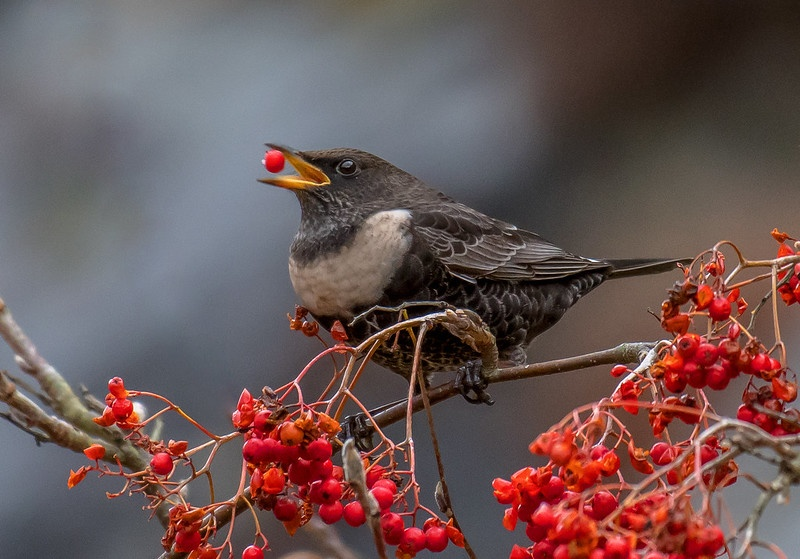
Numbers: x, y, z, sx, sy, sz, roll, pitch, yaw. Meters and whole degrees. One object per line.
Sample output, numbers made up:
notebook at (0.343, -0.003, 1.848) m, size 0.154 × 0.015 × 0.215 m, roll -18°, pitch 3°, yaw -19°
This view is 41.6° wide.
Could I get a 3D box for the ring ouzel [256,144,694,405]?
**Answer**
ring ouzel at (0.316, -0.041, 4.075) m, size 1.738 × 0.639 × 1.063 m, roll -5°, pitch -94°, yaw -26°
